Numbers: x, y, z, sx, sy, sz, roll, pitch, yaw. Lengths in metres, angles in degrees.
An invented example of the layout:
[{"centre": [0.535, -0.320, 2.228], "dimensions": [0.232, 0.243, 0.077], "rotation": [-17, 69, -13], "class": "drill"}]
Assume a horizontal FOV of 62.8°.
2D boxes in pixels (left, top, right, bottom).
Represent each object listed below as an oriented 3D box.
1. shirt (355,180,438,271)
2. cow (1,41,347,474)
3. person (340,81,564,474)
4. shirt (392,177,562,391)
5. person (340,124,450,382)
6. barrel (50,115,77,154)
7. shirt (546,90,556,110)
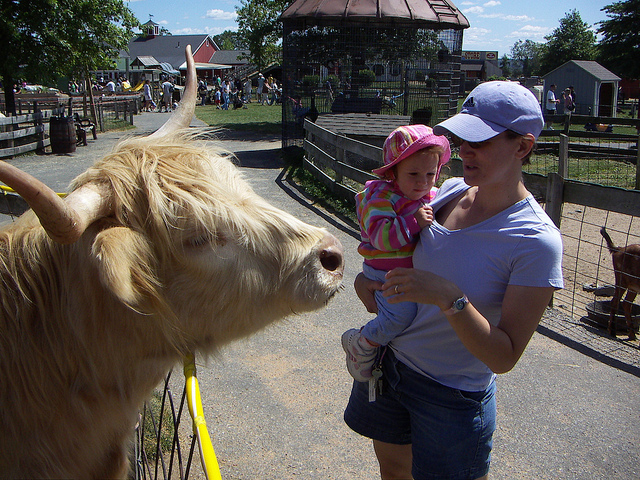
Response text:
[{"centre": [0.457, -0.044, 3.013], "dimensions": [0.422, 0.636, 0.467], "rotation": [-2, 13, -22], "class": "shirt"}, {"centre": [-0.842, 0.054, 3.060], "dimensions": [1.415, 1.849, 1.685], "rotation": [9, 21, -8], "class": "cow"}, {"centre": [0.692, 0.320, 2.722], "dimensions": [0.997, 2.209, 0.767], "rotation": [8, 14, 29], "class": "person"}, {"centre": [0.741, 0.166, 2.846], "dimensions": [0.487, 1.009, 0.982], "rotation": [14, 10, -26], "class": "shirt"}, {"centre": [0.465, 0.120, 3.013], "dimensions": [0.481, 1.508, 0.480], "rotation": [-7, 16, -31], "class": "person"}, {"centre": [-8.160, -3.444, 16.731], "dimensions": [0.698, 1.180, 0.738], "rotation": [9, 25, -4], "class": "barrel"}, {"centre": [12.824, -7.821, 29.242], "dimensions": [0.363, 1.039, 1.793], "rotation": [5, 16, 20], "class": "shirt"}]
